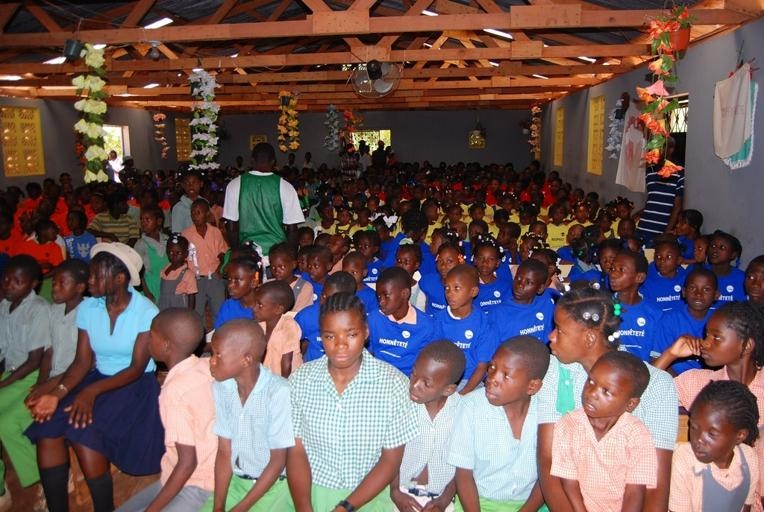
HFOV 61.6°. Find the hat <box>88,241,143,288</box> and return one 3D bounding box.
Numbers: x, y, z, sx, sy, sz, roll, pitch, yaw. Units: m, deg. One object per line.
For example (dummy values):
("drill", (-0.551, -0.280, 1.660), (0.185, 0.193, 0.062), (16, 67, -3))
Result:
("hat", (-2.096, 0.066, 5.075), (0.368, 0.339, 0.223), (3, 2, -25))

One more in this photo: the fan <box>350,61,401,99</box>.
("fan", (-0.126, -2.857, 9.977), (0.611, 0.621, 1.306), (4, 2, 8))
